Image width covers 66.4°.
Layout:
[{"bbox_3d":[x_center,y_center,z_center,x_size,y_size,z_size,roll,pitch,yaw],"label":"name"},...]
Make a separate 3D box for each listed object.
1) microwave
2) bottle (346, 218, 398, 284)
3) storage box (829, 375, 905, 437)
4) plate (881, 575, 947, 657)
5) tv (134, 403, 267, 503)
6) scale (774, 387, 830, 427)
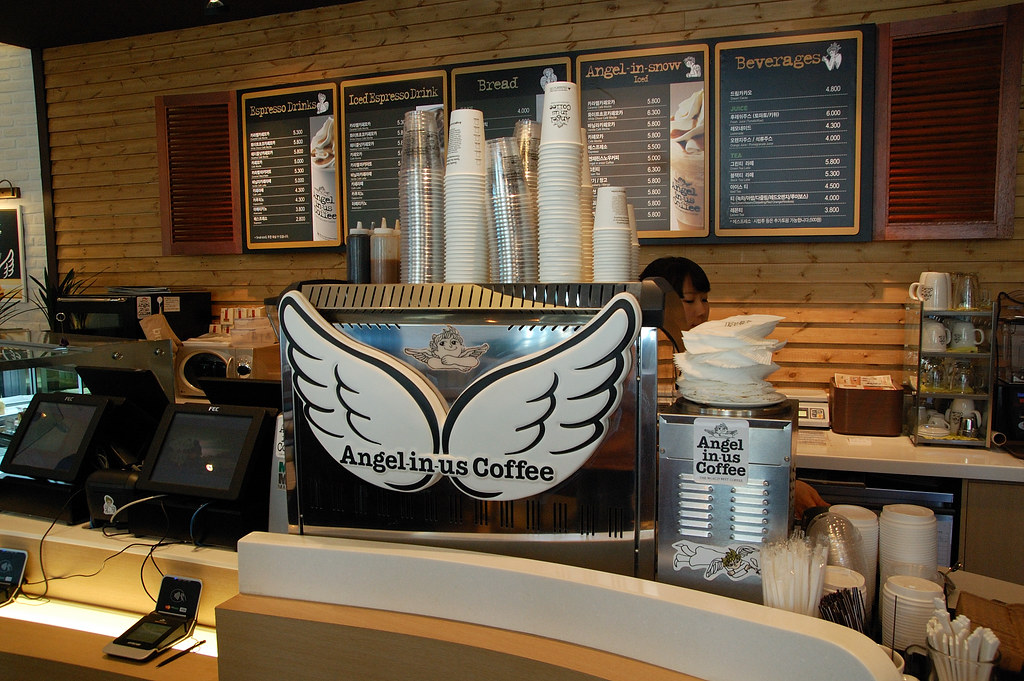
[{"bbox_3d":[-1.846,0.183,4.848,0.492,0.242,0.291,-1,9,-7],"label":"microwave"},{"bbox_3d":[-0.463,-0.283,2.608,0.173,0.199,0.114,0,3,-9],"label":"bottle"},{"bbox_3d":[1.850,0.385,4.316,0.491,0.284,0.459,1,-5,16],"label":"storage box"},{"bbox_3d":[1.193,0.815,2.323,0.163,0.203,0.107,1,3,5],"label":"plate"},{"bbox_3d":[-1.141,0.416,2.930,0.555,0.325,0.195,0,-1,29],"label":"tv"},{"bbox_3d":[1.303,0.309,3.476,0.204,0.250,0.085,4,-35,18],"label":"scale"}]
